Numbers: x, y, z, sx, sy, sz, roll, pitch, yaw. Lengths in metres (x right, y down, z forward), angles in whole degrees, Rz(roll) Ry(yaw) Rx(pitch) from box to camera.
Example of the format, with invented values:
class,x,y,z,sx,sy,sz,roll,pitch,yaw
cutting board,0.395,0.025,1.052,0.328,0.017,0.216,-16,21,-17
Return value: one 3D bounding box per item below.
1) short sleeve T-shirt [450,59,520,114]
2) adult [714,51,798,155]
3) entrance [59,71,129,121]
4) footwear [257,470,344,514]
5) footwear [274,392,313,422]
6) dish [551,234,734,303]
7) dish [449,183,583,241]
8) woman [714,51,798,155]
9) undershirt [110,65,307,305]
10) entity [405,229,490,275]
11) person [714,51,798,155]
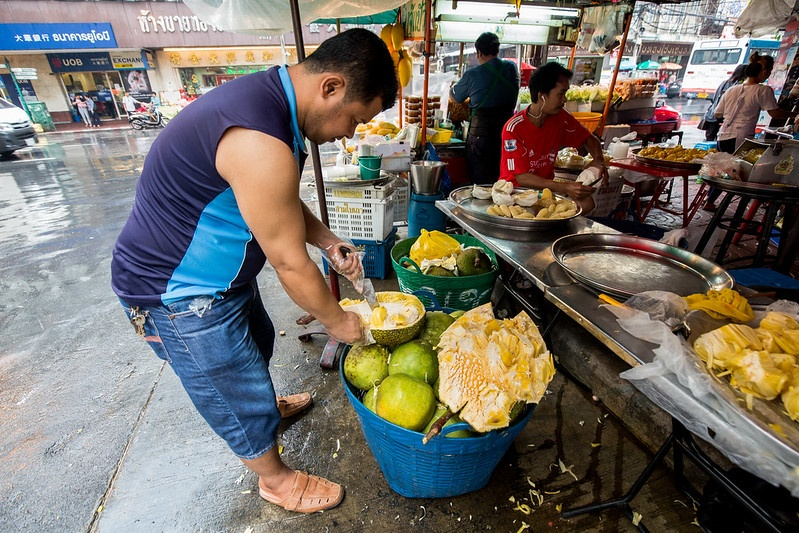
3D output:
class,x,y,z,sx,sy,sz,roll,pitch,yaw
short sleeve T-shirt,1.227,-2.698,6.150,0.704,0.578,0.837,-10,37,-5
adult,5.713,-2.654,7.028,1.067,1.495,0.751,-24,33,-36
entrance,-14.972,-8.606,20.960,2.840,2.648,2.021,-16,44,-26
footwear,-0.699,1.683,3.188,0.620,0.221,0.270,5,52,9
footwear,-0.906,1.161,3.663,0.358,0.138,0.132,-17,37,-27
dish,1.691,-0.003,3.036,0.681,0.072,0.640,-4,28,-7
dish,0.999,-0.441,3.581,0.742,0.078,0.707,-10,31,-13
woman,5.726,-2.654,7.027,1.090,1.495,0.744,-24,33,-37
undershirt,-1.248,-0.457,2.663,1.333,1.343,0.377,-7,27,-9
entity,0.428,-0.093,3.884,0.547,0.306,0.538,11,17,28
person,5.717,-2.652,7.024,1.071,1.495,0.749,-24,33,-37
